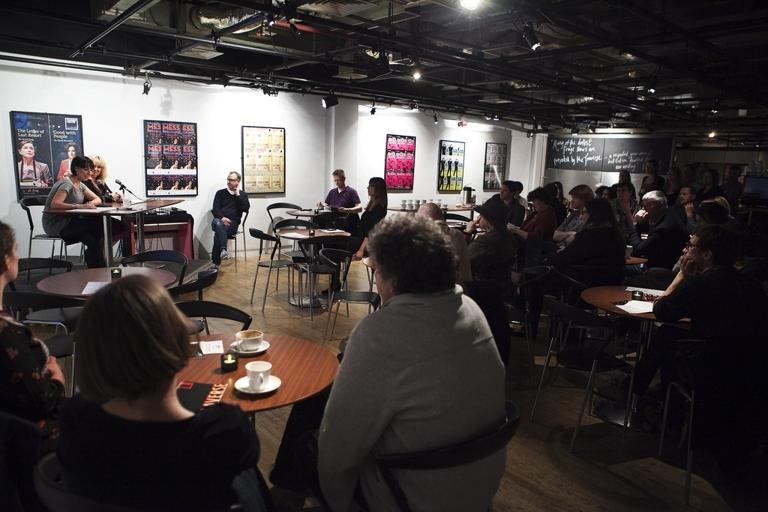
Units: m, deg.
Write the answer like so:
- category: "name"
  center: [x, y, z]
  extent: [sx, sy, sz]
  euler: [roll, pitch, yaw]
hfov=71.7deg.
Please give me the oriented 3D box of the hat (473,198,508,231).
- category: "hat"
  center: [1.178, -0.442, 5.741]
  extent: [0.312, 0.140, 0.363]
  euler: [36, 8, 41]

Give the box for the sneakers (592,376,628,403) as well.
- category: "sneakers"
  center: [2.253, 1.299, 5.250]
  extent: [0.320, 0.116, 0.250]
  euler: [-8, 9, -24]

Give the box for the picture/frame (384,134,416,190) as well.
- category: "picture/frame"
  center: [0.407, -2.244, 12.977]
  extent: [0.187, 1.397, 1.030]
  euler: [9, 11, 40]

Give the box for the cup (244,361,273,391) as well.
- category: "cup"
  center: [-0.794, 0.737, 3.353]
  extent: [0.146, 0.116, 0.171]
  euler: [0, 17, -9]

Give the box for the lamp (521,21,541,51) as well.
- category: "lamp"
  center: [1.672, -2.484, 6.044]
  extent: [0.163, 0.289, 0.437]
  euler: [4, 9, 16]

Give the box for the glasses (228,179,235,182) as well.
- category: "glasses"
  center: [-2.732, -1.352, 9.549]
  extent: [0.089, 0.054, 0.028]
  euler: [1, 9, 1]

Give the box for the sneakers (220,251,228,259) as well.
- category: "sneakers"
  center: [-2.913, -0.032, 9.709]
  extent: [0.147, 0.177, 0.393]
  euler: [-1, 1, -24]

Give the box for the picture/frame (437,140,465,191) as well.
- category: "picture/frame"
  center: [1.809, -2.365, 14.172]
  extent: [0.154, 1.389, 1.065]
  euler: [9, 12, 41]

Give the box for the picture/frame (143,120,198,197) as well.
- category: "picture/frame"
  center: [-3.755, -1.722, 9.432]
  extent: [0.887, 1.317, 0.054]
  euler: [-5, 11, -36]

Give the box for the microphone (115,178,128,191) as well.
- category: "microphone"
  center: [-4.354, -1.193, 8.833]
  extent: [0.128, 0.116, 0.400]
  euler: [-33, 32, -15]
